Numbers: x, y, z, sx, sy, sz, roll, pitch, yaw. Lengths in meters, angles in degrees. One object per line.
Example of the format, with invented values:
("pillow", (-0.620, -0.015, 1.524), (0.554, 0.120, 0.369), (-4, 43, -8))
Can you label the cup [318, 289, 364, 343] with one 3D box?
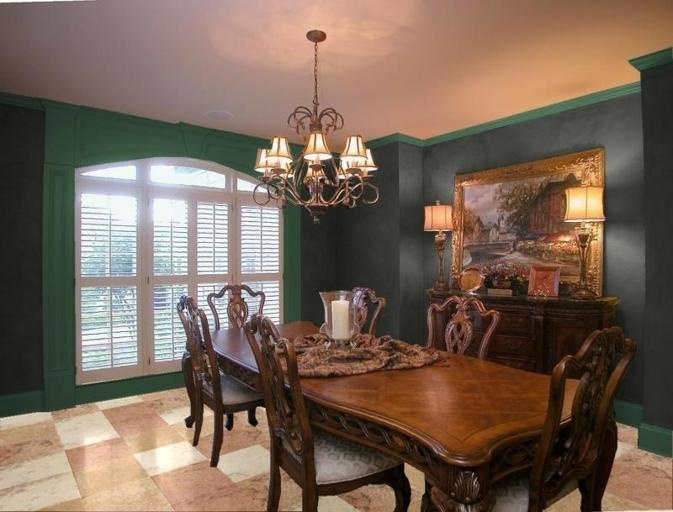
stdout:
("cup", (0.047, 0.375, 3.304), (0.312, 0.380, 0.290), (1, -1, 0))

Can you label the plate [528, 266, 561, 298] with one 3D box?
("plate", (1.911, 0.240, 4.610), (0.263, 0.324, 0.038), (-2, -13, 42))

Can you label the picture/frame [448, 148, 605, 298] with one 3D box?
("picture/frame", (1.869, -0.310, 4.828), (0.061, 1.242, 1.452), (3, -5, -31))

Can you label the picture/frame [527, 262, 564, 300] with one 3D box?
("picture/frame", (1.924, 0.235, 4.611), (0.310, 0.392, 0.044), (-1, -15, 42))

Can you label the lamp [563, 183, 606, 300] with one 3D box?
("lamp", (2.149, -0.138, 4.382), (0.320, 0.948, 0.558), (4, 9, 28))

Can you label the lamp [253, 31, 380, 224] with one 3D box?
("lamp", (-0.160, -1.020, 3.866), (0.961, 1.416, 0.860), (-1, 4, -1))
